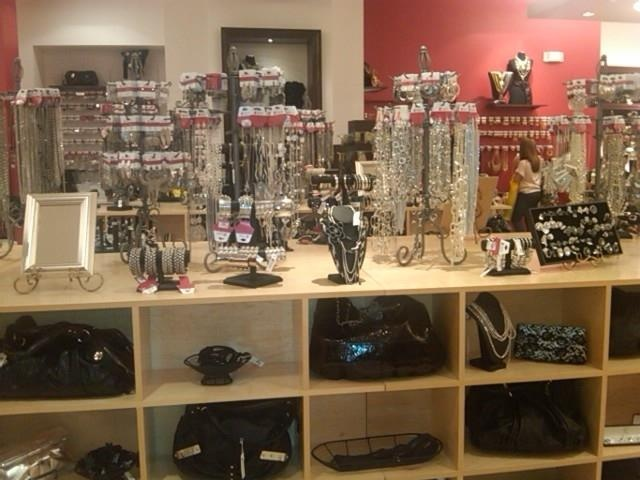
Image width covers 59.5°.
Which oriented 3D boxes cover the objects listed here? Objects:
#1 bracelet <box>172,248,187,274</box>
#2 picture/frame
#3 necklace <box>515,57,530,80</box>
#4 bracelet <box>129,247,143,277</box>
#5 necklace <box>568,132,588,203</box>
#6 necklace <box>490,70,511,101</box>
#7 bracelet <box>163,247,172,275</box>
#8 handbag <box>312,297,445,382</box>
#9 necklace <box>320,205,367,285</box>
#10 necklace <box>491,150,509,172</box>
[{"bbox_3d":[-0.632,0.092,2.586,0.060,0.121,0.105,0,5,-8],"label":"bracelet"},{"bbox_3d":[-1.177,-0.018,2.526,0.371,0.474,0.060,-2,-23,-6],"label":"picture/frame"},{"bbox_3d":[2.827,-2.415,7.820,0.232,0.304,0.064,-3,8,-4],"label":"necklace"},{"bbox_3d":[-0.828,0.100,2.525,0.047,0.146,0.127,1,3,-1],"label":"bracelet"},{"bbox_3d":[1.618,-0.461,3.516,0.101,0.433,0.148,2,9,24],"label":"necklace"},{"bbox_3d":[2.507,-2.163,7.816,0.360,0.460,0.372,3,14,21],"label":"necklace"},{"bbox_3d":[-0.688,0.101,2.518,0.032,0.120,0.113,0,0,-8],"label":"bracelet"},{"bbox_3d":[0.247,0.461,2.601,0.478,0.189,0.375,0,20,-1],"label":"handbag"},{"bbox_3d":[0.117,0.012,2.595,0.191,0.344,0.207,2,9,27],"label":"necklace"},{"bbox_3d":[2.600,-1.136,8.031,0.207,0.324,0.073,-1,-7,1],"label":"necklace"}]
